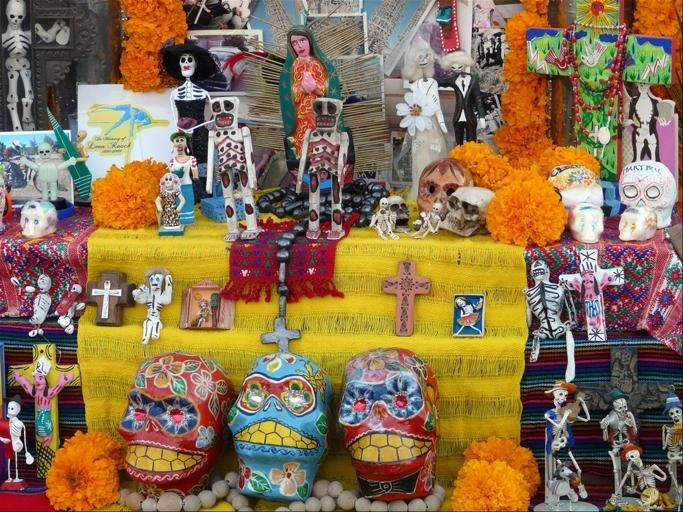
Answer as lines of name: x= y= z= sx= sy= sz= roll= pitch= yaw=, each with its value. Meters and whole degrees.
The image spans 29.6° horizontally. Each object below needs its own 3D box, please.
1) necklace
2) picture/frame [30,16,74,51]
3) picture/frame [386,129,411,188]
necklace: x=1.666 y=-1.145 z=8.547 sx=0.410 sy=0.730 sz=0.159 roll=2 pitch=7 yaw=14
picture/frame: x=-1.973 y=-1.504 z=8.773 sx=0.239 sy=0.212 sz=0.065 roll=4 pitch=6 yaw=-10
picture/frame: x=0.411 y=-0.680 z=9.067 sx=0.216 sy=0.356 sz=0.365 roll=3 pitch=10 yaw=0
